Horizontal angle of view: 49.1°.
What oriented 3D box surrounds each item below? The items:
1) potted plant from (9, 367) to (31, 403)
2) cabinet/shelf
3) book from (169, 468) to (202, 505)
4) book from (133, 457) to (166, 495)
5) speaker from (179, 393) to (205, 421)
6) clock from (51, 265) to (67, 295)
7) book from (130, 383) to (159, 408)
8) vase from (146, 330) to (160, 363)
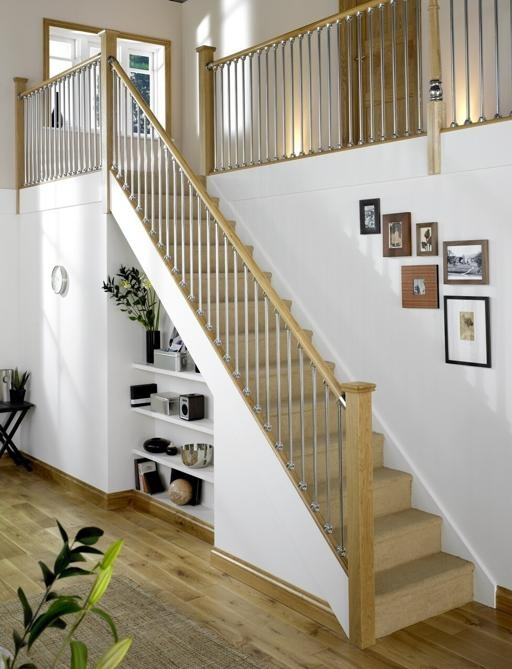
[{"bbox_3d":[-2.611,0.566,6.142,0.207,0.355,0.304,0,-1,-38],"label":"potted plant"},{"bbox_3d":[-0.671,0.916,4.583,0.260,1.141,1.057,-4,9,-33],"label":"cabinet/shelf"},{"bbox_3d":[-0.548,1.212,4.434,0.030,0.331,0.308,3,-2,-37],"label":"book"},{"bbox_3d":[-0.936,1.237,4.889,0.243,0.284,0.060,12,-28,-39],"label":"book"},{"bbox_3d":[-0.493,0.561,4.464,0.172,0.280,0.172,2,-1,-32],"label":"speaker"},{"bbox_3d":[-1.917,-0.538,5.468,0.043,0.333,0.246,2,-2,-32],"label":"clock"},{"bbox_3d":[-0.999,0.528,4.931,0.180,0.227,0.050,-5,7,-33],"label":"book"},{"bbox_3d":[-0.898,0.109,4.902,0.126,0.290,0.208,0,-1,-11],"label":"vase"}]
